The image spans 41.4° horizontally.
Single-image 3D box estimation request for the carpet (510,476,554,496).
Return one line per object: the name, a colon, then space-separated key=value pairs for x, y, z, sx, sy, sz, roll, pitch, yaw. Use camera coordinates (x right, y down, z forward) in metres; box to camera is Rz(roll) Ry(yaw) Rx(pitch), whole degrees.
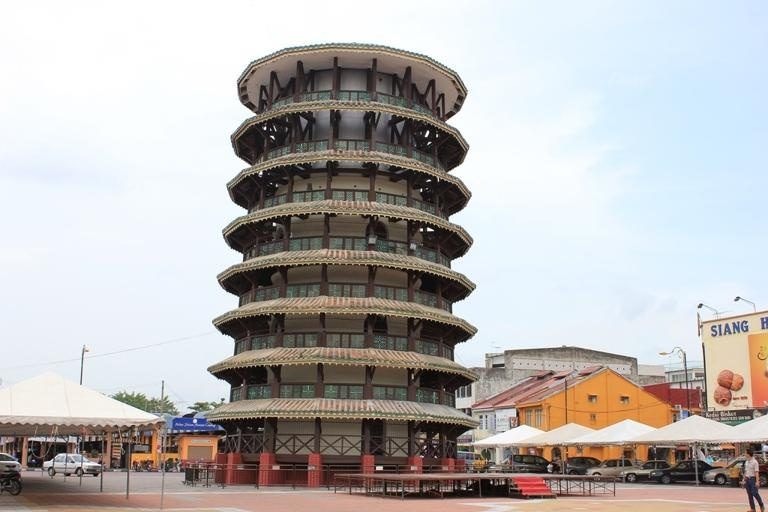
carpet: x=10.834 y=16.937 z=75.362 sx=2.855 sy=1.393 sz=1.588 roll=3 pitch=3 yaw=-1
